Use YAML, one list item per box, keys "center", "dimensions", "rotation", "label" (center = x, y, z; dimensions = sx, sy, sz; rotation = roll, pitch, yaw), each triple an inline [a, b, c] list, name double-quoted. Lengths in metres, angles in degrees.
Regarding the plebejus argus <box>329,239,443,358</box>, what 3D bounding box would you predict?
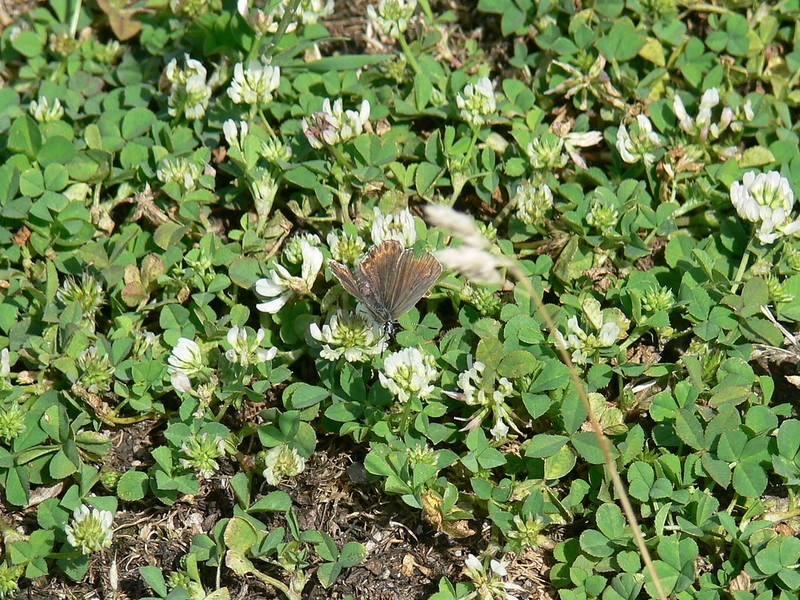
- center: [-0.070, -0.103, 3.380]
  dimensions: [0.416, 0.401, 0.326]
  rotation: [38, 71, 8]
  label: "plebejus argus"
